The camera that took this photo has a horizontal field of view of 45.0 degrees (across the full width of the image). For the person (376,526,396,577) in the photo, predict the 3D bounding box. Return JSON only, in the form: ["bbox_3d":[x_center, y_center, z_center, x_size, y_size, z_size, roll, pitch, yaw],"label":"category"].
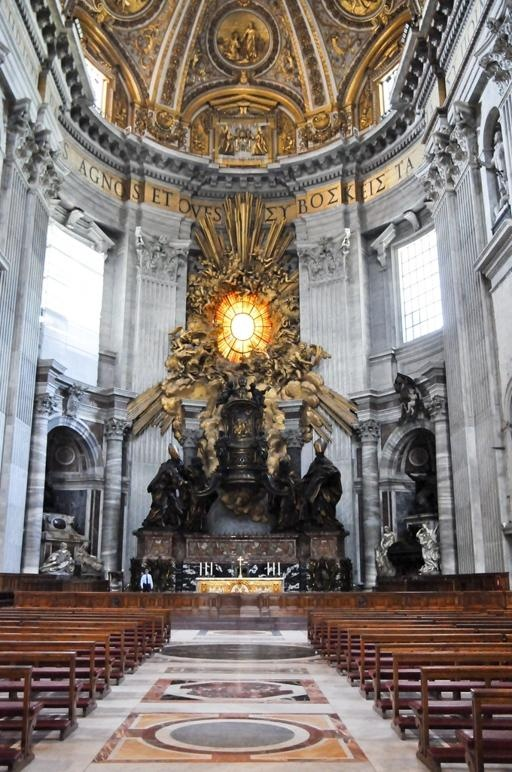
[{"bbox_3d":[3.918,4.948,18.553,0.494,1.384,0.734,7,-17,-24],"label":"person"}]

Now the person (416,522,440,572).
[{"bbox_3d":[4.677,4.372,16.732,0.554,1.350,0.841,-4,-16,14],"label":"person"}]

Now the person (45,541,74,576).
[{"bbox_3d":[-5.318,4.661,16.606,0.801,0.868,0.502,6,-26,-10],"label":"person"}]
